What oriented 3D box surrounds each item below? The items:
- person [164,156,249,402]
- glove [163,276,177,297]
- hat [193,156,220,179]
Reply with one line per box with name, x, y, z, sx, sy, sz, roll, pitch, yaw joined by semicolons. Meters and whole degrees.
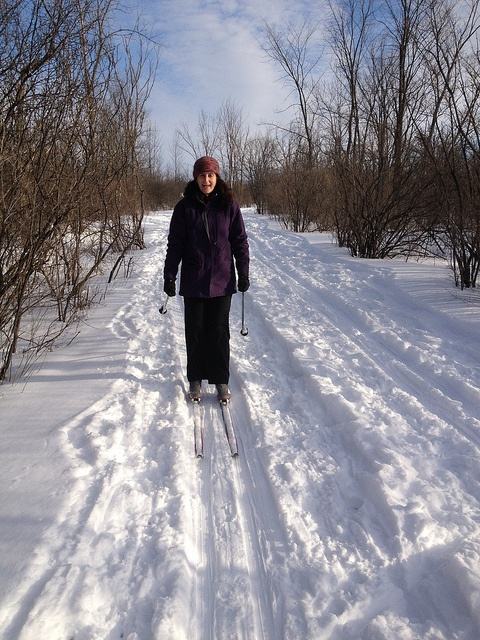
person;-0.263;-0.290;3.407;0.638;1.855;0.322;2;10;-5
glove;-0.531;-0.251;3.301;0.076;0.154;0.039;8;-11;-16
hat;-0.244;-1.109;3.192;0.165;0.153;0.131;0;13;-14
